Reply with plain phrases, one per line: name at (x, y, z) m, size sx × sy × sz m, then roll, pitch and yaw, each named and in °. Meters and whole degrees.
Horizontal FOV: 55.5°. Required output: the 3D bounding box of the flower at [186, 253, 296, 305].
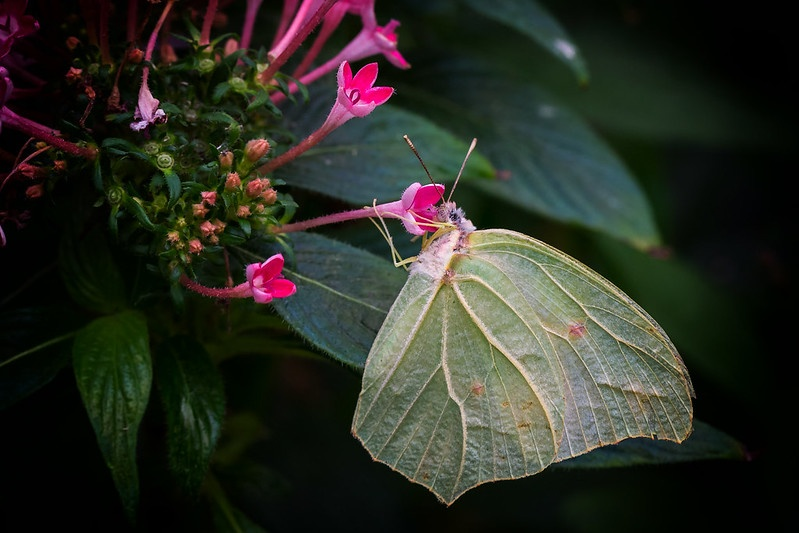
flower at (-0.510, 0.049, 2.328) m, size 0.334 × 0.137 × 0.185 m, roll 2°, pitch 17°, yaw 7°
